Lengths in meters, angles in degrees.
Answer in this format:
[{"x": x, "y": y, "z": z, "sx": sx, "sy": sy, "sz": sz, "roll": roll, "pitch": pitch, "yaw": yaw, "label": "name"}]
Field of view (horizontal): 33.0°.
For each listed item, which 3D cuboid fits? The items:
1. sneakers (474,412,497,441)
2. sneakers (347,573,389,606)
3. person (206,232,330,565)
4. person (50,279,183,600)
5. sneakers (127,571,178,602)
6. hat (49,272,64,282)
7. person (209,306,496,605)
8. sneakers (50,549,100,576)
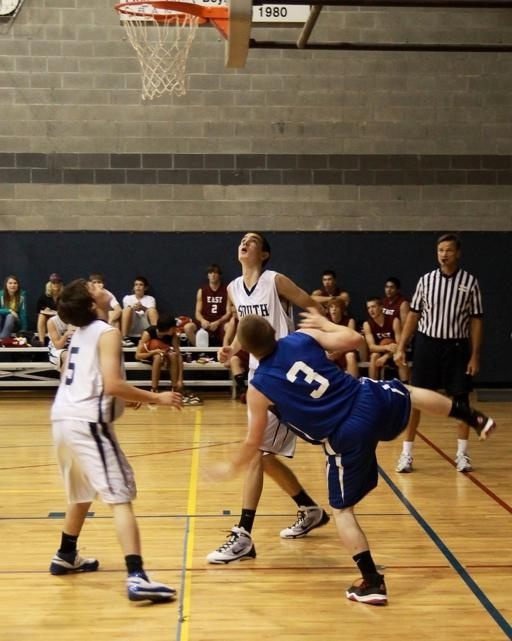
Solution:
[{"x": 1.091, "y": 0.512, "z": 4.148, "sx": 0.075, "sy": 0.065, "sz": 0.163, "roll": 37, "pitch": -10, "yaw": 17, "label": "sneakers"}, {"x": 0.501, "y": 1.231, "z": 3.923, "sx": 0.096, "sy": 0.113, "sz": 0.254, "roll": 7, "pitch": -9, "yaw": -30, "label": "sneakers"}, {"x": 0.079, "y": 0.372, "z": 4.730, "sx": 0.883, "sy": 1.722, "sz": 0.584, "roll": 1, "pitch": -5, "yaw": -29, "label": "person"}, {"x": -0.680, "y": 0.554, "z": 4.004, "sx": 0.691, "sy": 1.452, "sz": 0.409, "roll": 9, "pitch": 7, "yaw": 44, "label": "person"}, {"x": -0.479, "y": 1.221, "z": 3.925, "sx": 0.301, "sy": 0.123, "sz": 0.095, "roll": 8, "pitch": -6, "yaw": -24, "label": "sneakers"}, {"x": -2.381, "y": -0.528, "z": 10.164, "sx": 0.132, "sy": 0.075, "sz": 0.143, "roll": -2, "pitch": -4, "yaw": 6, "label": "hat"}, {"x": 0.414, "y": 0.580, "z": 4.114, "sx": 1.389, "sy": 1.449, "sz": 0.590, "roll": -16, "pitch": 14, "yaw": -5, "label": "person"}, {"x": -0.894, "y": 1.207, "z": 4.294, "sx": 0.290, "sy": 0.117, "sz": 0.093, "roll": 2, "pitch": 0, "yaw": -24, "label": "sneakers"}]
